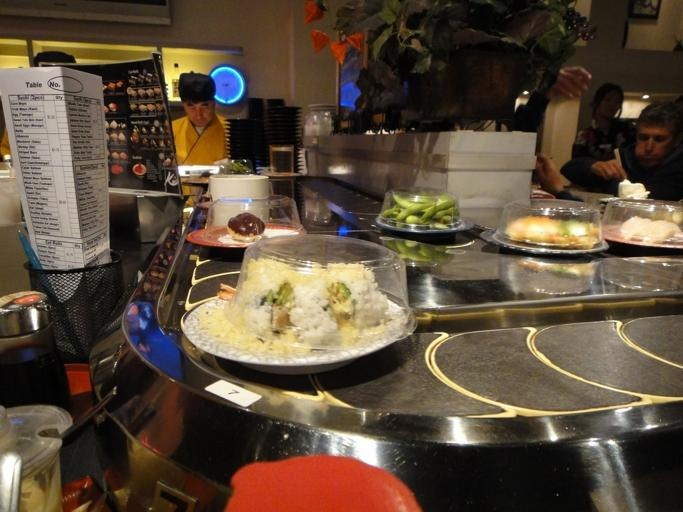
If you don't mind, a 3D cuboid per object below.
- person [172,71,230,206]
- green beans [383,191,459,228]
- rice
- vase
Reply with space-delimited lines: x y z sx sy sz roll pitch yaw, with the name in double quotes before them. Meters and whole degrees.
"person" -1.280 -1.224 4.232 0.459 0.785 0.497 -6 23 -16
"green beans" 0.208 -0.145 1.291 0.203 0.106 0.170 -6 14 -32
"rice" -0.044 0.063 0.623 0.219 0.085 0.118 2 21 3
"vase" 0.415 -0.571 1.602 0.224 0.109 0.307 -6 18 -16
